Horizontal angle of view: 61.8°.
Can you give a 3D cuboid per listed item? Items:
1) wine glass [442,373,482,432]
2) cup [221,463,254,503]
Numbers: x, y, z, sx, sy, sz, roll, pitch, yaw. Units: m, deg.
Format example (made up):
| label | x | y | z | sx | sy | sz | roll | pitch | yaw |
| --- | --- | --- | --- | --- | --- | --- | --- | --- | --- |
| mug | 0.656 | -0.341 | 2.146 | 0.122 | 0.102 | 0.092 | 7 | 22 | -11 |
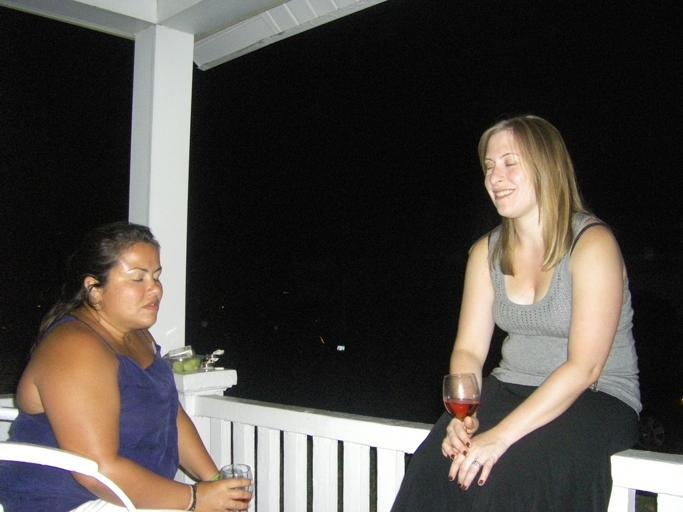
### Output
| label | x | y | z | sx | sy | sz | roll | pitch | yaw |
| --- | --- | --- | --- | --- | --- | --- | --- | --- | --- |
| wine glass | 0.422 | 0.484 | 1.989 | 0.131 | 0.164 | 0.178 | 4 | -3 | 14 |
| cup | -0.392 | 0.865 | 2.137 | 0.132 | 0.129 | 0.133 | -3 | -7 | 0 |
